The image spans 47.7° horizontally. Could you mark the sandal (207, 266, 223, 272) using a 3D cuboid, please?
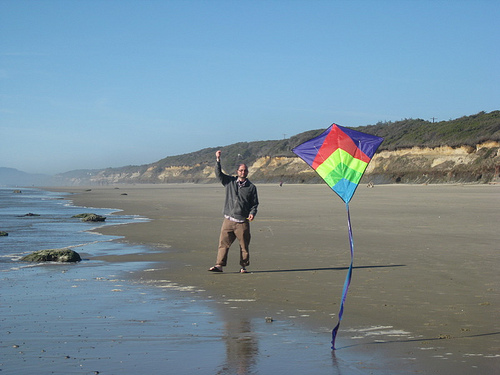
[{"bbox_3d":[-0.801,1.852,12.877,0.476,0.130,0.157,1,1,-6],"label":"sandal"}]

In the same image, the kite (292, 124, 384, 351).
[{"bbox_3d":[1.394,0.607,8.830,1.257,3.252,3.406,1,1,12],"label":"kite"}]

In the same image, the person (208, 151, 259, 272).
[{"bbox_3d":[-0.358,0.546,12.788,1.042,2.740,0.638,1,1,6],"label":"person"}]
